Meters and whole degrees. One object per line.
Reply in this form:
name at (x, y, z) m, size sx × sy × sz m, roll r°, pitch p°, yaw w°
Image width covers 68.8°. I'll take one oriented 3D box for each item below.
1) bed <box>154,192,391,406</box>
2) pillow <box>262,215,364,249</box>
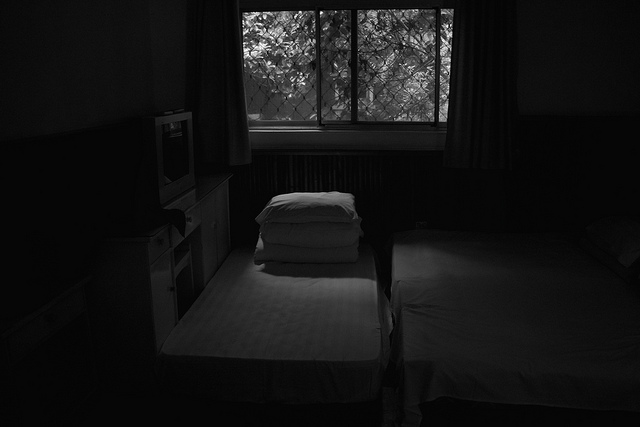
bed at (-0.114, 0.239, 2.067) m, size 0.855 × 0.444 × 1.423 m, roll 3°, pitch 12°, yaw 5°
pillow at (-0.036, 0.094, 2.222) m, size 0.482 × 0.129 × 0.095 m, roll 0°, pitch 16°, yaw -4°
